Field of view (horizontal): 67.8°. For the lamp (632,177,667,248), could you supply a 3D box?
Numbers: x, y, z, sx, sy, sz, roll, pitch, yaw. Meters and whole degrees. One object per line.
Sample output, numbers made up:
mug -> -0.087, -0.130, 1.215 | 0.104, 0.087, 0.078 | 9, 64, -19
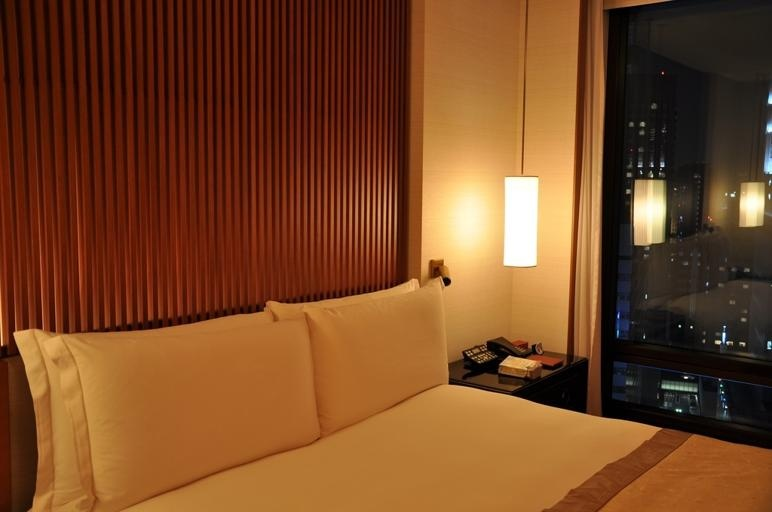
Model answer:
lamp -> 1.969, -0.317, 4.293 | 0.236, 0.482, 0.080 | 5, 12, 19

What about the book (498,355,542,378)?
book -> 0.878, 0.711, 3.711 | 0.146, 0.055, 0.155 | 5, 12, 29

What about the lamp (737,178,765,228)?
lamp -> 2.534, -0.352, 3.978 | 0.153, 0.306, 0.043 | 5, 12, 19

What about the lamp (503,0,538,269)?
lamp -> 1.047, -0.915, 4.228 | 0.251, 1.956, 0.757 | 4, 12, 15

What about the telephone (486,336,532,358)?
telephone -> 0.846, 0.636, 4.006 | 0.197, 0.081, 0.154 | -2, 2, 29

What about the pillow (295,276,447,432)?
pillow -> -0.082, 0.538, 2.989 | 0.120, 0.445, 0.617 | -12, 0, 44
